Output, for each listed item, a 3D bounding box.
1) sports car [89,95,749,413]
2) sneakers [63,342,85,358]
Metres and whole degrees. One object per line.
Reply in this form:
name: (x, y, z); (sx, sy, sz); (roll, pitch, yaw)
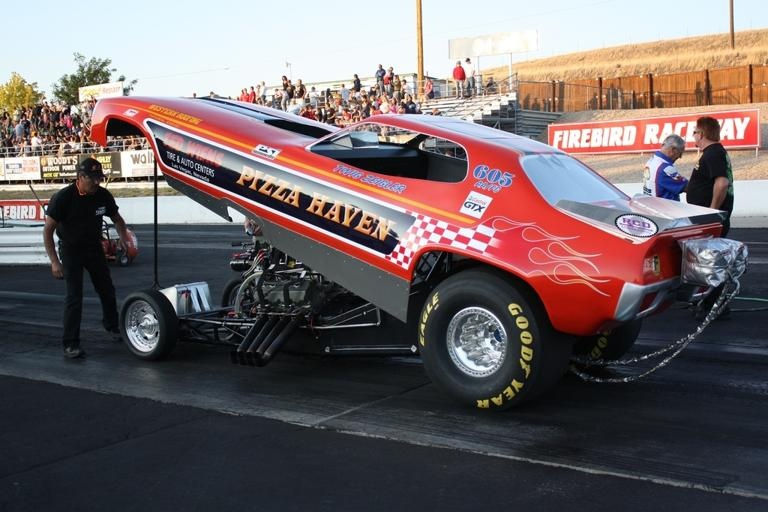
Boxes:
sports car: (0.074, -0.057, 6.298); (6.558, 2.407, 3.020); (8, 10, 26)
sneakers: (-3.662, 1.122, 6.606); (0.291, 0.122, 0.116); (9, 7, 28)
